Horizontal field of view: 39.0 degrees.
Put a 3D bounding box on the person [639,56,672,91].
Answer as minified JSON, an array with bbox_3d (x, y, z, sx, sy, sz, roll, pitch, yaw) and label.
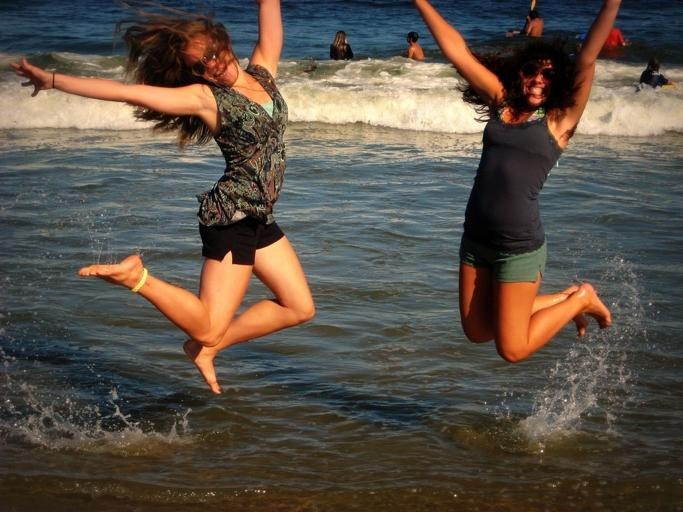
[{"bbox_3d":[6.181,-3.532,18.807,0.611,0.526,0.780,10,22,13],"label":"person"}]

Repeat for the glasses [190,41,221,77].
[{"bbox_3d":[-0.939,-1.360,6.697,0.193,0.235,0.075,-6,31,-23],"label":"glasses"}]

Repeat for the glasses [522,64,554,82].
[{"bbox_3d":[1.376,-1.268,6.730,0.215,0.042,0.161,2,-8,6],"label":"glasses"}]

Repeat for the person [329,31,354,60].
[{"bbox_3d":[0.015,-4.791,22.146,0.490,0.632,0.608,-1,24,-12],"label":"person"}]

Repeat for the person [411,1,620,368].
[{"bbox_3d":[1.330,-0.532,6.989,0.964,2.654,1.151,-9,31,-26],"label":"person"}]
